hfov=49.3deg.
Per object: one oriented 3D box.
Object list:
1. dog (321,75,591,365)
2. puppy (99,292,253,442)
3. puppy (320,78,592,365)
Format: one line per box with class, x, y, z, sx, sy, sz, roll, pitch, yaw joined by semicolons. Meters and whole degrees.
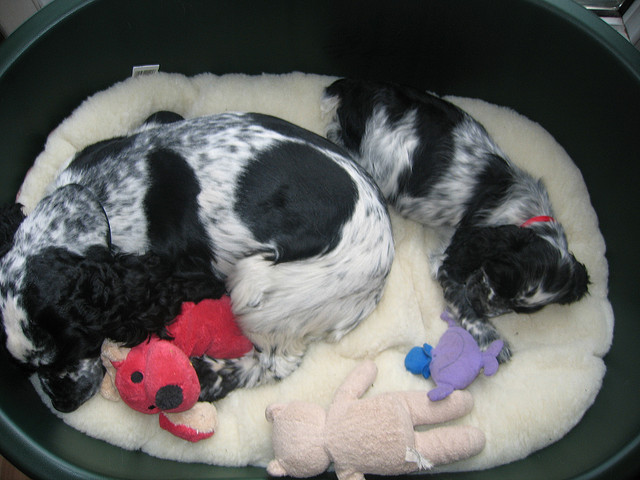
dog;0.690;-0.181;4.174;1.830;0.589;1.065;47;70;-3
puppy;-0.742;0.560;3.690;0.668;0.367;0.884;25;45;8
puppy;0.796;-0.265;4.129;1.041;0.717;1.997;-4;53;-32
